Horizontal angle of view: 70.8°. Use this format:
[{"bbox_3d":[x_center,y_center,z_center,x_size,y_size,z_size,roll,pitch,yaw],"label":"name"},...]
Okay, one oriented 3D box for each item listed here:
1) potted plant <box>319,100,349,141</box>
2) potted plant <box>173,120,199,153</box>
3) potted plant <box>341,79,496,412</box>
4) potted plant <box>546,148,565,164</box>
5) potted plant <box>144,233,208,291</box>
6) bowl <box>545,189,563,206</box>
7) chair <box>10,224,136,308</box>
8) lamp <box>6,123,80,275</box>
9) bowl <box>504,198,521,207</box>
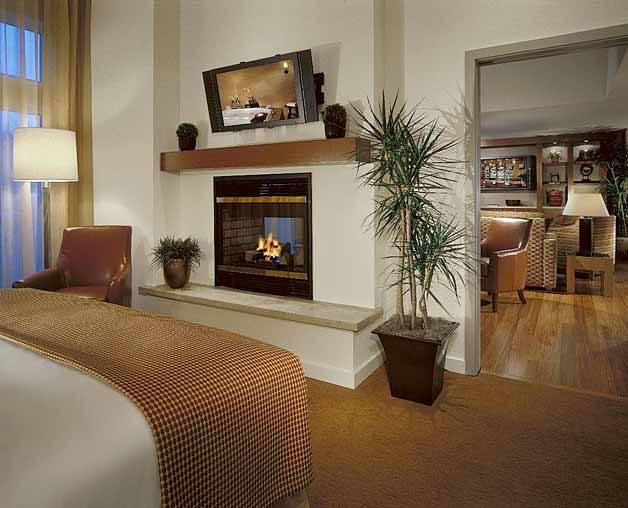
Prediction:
[{"bbox_3d":[0.142,-0.893,2.953,0.184,0.244,0.203,7,13,35],"label":"potted plant"},{"bbox_3d":[-1.059,-0.973,3.697,0.152,0.225,0.145,3,9,27],"label":"potted plant"},{"bbox_3d":[0.849,-0.140,4.022,1.406,3.305,1.517,2,3,33],"label":"potted plant"},{"bbox_3d":[4.284,-1.733,7.805,0.292,0.310,0.322,1,5,-1],"label":"potted plant"},{"bbox_3d":[-1.139,0.053,3.735,0.376,0.458,0.414,2,5,14],"label":"potted plant"},{"bbox_3d":[4.152,-0.986,7.631,0.268,0.399,0.191,-2,-6,37],"label":"bowl"},{"bbox_3d":[-1.780,0.048,3.522,0.562,0.934,0.697,1,-1,2],"label":"chair"},{"bbox_3d":[-2.190,-0.473,3.643,0.444,1.077,0.501,-7,10,-36],"label":"lamp"},{"bbox_3d":[3.575,-0.931,7.918,0.278,0.127,0.247,3,10,26],"label":"bowl"}]
